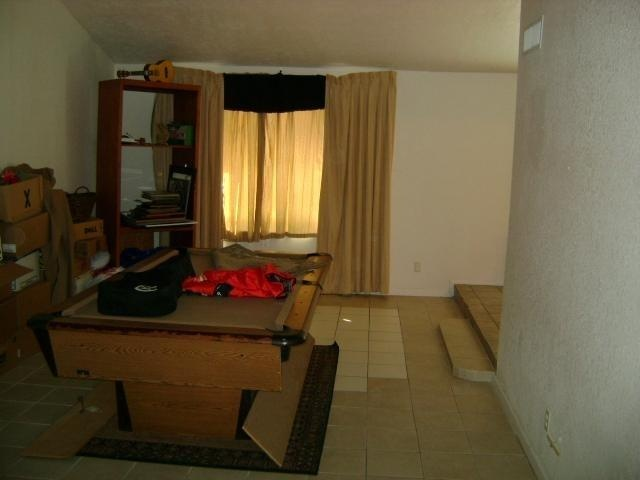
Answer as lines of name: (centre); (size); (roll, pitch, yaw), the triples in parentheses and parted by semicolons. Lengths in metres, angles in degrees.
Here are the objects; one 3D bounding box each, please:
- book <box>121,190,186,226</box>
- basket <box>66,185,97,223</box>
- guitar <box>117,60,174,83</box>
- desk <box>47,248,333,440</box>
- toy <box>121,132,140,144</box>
book: (-1.533, -0.301, 4.655); (0.540, 0.280, 0.280); (-6, 16, -28)
basket: (-1.968, -0.296, 4.257); (0.219, 0.318, 0.341); (7, 14, 11)
guitar: (-1.567, -1.520, 4.541); (0.463, 0.219, 0.120); (-2, 15, -8)
desk: (-0.673, 0.679, 2.964); (1.290, 0.886, 1.032); (3, 14, 5)
toy: (-1.698, -0.907, 4.523); (0.148, 0.082, 0.250); (-3, 15, -18)
